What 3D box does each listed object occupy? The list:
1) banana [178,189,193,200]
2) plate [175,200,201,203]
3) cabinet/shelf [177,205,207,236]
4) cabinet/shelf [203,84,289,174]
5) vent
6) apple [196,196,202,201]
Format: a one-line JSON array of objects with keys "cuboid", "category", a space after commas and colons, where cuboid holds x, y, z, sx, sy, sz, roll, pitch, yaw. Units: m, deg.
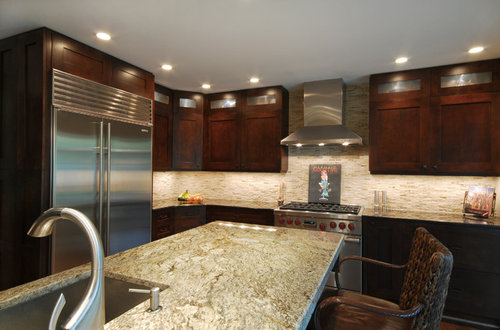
[{"cuboid": [-1.098, 0.513, 5.111, 0.161, 0.101, 0.229, -2, 22, 0], "category": "banana"}, {"cuboid": [-0.999, 0.583, 4.864, 0.458, 0.035, 0.226, -2, -1, 14], "category": "plate"}, {"cuboid": [-0.941, 0.829, 4.722, 0.440, 0.577, 0.410, 0, -2, -31], "category": "cabinet/shelf"}, {"cuboid": [-0.021, -0.554, 5.051, 1.505, 1.304, 0.534, 1, 2, 32], "category": "cabinet/shelf"}, {"cuboid": [1.127, -0.775, 4.490, 1.140, 0.921, 0.641, 2, 6, 36], "category": "vent"}, {"cuboid": [-0.833, 0.537, 4.963, 0.077, 0.070, 0.077, 9, 9, 20], "category": "apple"}]
